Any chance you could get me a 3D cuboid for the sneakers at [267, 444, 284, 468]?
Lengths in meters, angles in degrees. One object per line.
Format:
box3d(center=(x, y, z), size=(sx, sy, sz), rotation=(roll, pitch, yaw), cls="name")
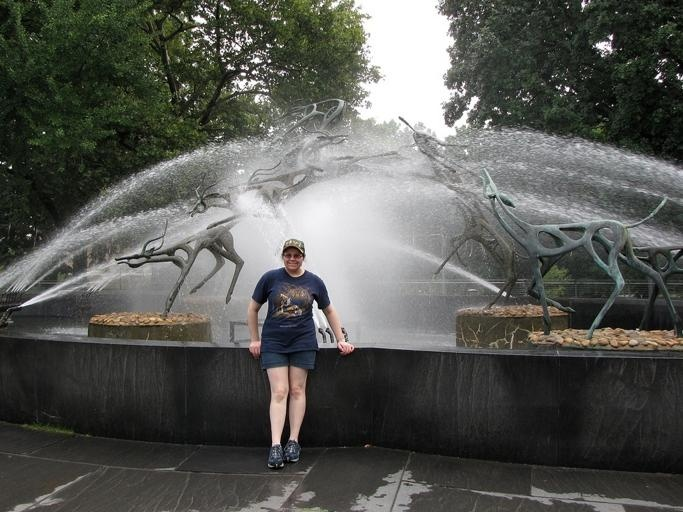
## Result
box3d(center=(-0.652, 2.026, 5.665), size=(0.175, 0.217, 0.204), rotation=(-1, -40, -8), cls="sneakers")
